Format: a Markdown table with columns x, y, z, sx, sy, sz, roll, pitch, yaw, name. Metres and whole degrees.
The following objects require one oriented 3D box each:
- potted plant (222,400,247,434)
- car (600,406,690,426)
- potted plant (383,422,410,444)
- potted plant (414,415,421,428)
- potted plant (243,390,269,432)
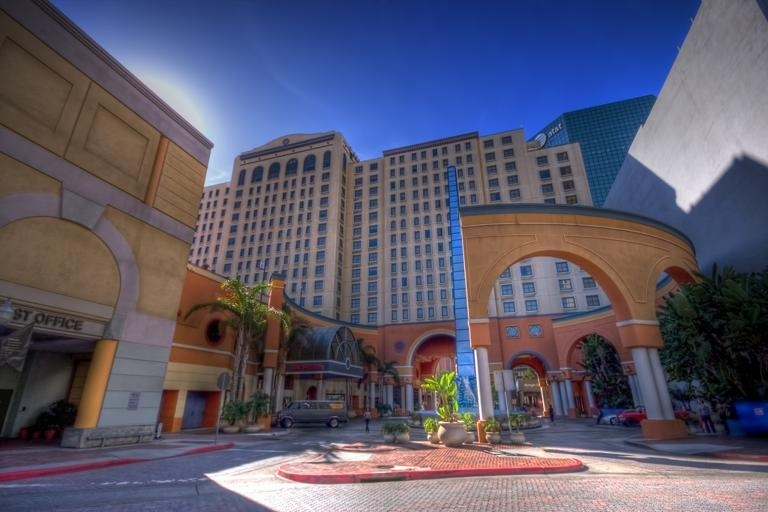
| x | y | z | sx | sy | sz | roll | pitch | yaw | name |
| --- | --- | --- | --- | --- | --- | --- | --- | --- | --- |
| -10.936 | 11.835 | 24.106 | 1.605 | 2.187 | 1.851 | 7 | -25 | -25 | potted plant |
| 19.997 | 13.467 | 27.307 | 1.571 | 1.295 | 4.173 | 1 | -22 | -12 | car |
| 0.724 | 9.830 | 18.228 | 1.299 | 0.800 | 1.204 | 4 | -17 | -6 | potted plant |
| 2.926 | 14.523 | 28.864 | 0.522 | 0.854 | 1.444 | -12 | -23 | 17 | potted plant |
| -9.805 | 12.048 | 25.506 | 1.639 | 2.860 | 3.423 | 4 | -23 | -19 | potted plant |
